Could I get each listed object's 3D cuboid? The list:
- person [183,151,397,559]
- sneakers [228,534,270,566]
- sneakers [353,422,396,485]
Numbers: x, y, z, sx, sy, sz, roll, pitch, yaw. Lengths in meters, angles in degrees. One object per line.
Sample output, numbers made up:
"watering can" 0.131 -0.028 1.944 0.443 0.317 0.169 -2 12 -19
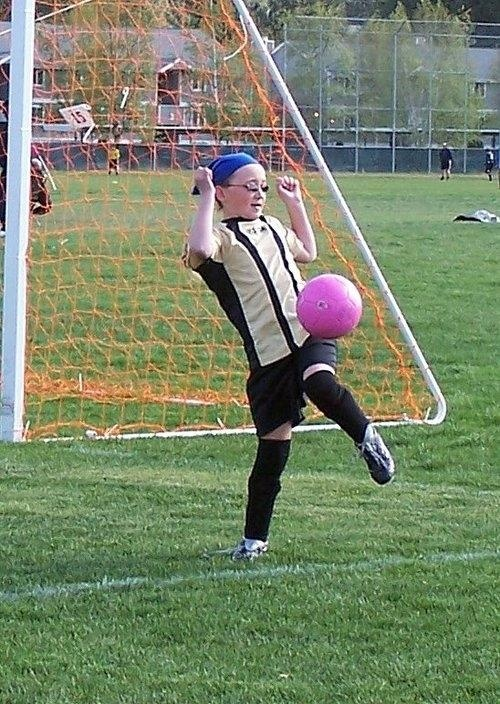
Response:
"person" 0.085 0.010 3.523 0.624 1.393 0.815 -2 7 -14
"sneakers" -0.009 0.685 3.496 0.119 0.054 0.063 -10 -1 -24
"sneakers" 0.389 0.346 3.294 0.081 0.243 0.096 -23 -6 37
